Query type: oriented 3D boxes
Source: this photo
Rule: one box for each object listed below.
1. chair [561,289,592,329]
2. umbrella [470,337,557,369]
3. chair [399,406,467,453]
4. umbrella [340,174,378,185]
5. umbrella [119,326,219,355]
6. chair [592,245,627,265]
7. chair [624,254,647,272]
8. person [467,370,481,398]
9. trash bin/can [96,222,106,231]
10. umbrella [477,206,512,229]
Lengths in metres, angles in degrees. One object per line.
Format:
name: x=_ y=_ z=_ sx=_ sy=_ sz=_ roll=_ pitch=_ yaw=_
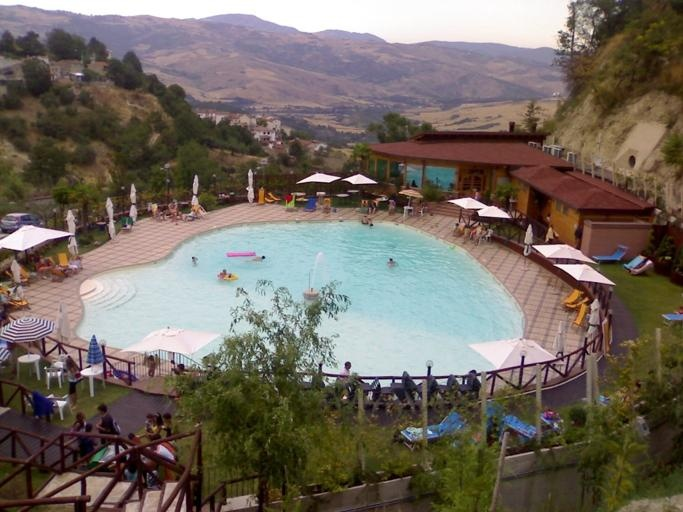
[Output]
chair: x=11.147 y=2.344 z=24.550 sx=1.161 sy=0.776 sz=2.832 roll=13 pitch=42 yaw=22
umbrella: x=6.131 y=3.334 z=18.466 sx=2.008 sy=0.630 sz=1.491 roll=-5 pitch=21 yaw=-20
chair: x=2.840 y=5.289 z=16.019 sx=1.840 sy=0.738 sz=0.946 roll=-6 pitch=10 yaw=-28
umbrella: x=1.542 y=-6.465 z=45.252 sx=2.978 sy=1.143 sz=4.438 roll=1 pitch=14 yaw=0
umbrella: x=-6.030 y=3.198 z=18.927 sx=2.621 sy=0.846 sz=1.278 roll=2 pitch=14 yaw=4
chair: x=14.768 y=-0.034 z=29.037 sx=1.584 sy=0.996 sz=0.936 roll=-1 pitch=18 yaw=3
chair: x=15.418 y=0.360 z=27.560 sx=0.999 sy=0.368 sz=0.640 roll=-38 pitch=23 yaw=5
person: x=4.674 y=4.474 z=18.501 sx=0.501 sy=0.720 sz=0.263 roll=-4 pitch=-12 yaw=1
trash bin/can: x=-16.311 y=-1.993 z=35.634 sx=0.588 sy=0.451 sz=0.597 roll=7 pitch=7 yaw=32
umbrella: x=10.349 y=-2.711 z=35.280 sx=2.224 sy=1.400 sz=4.661 roll=5 pitch=15 yaw=14
